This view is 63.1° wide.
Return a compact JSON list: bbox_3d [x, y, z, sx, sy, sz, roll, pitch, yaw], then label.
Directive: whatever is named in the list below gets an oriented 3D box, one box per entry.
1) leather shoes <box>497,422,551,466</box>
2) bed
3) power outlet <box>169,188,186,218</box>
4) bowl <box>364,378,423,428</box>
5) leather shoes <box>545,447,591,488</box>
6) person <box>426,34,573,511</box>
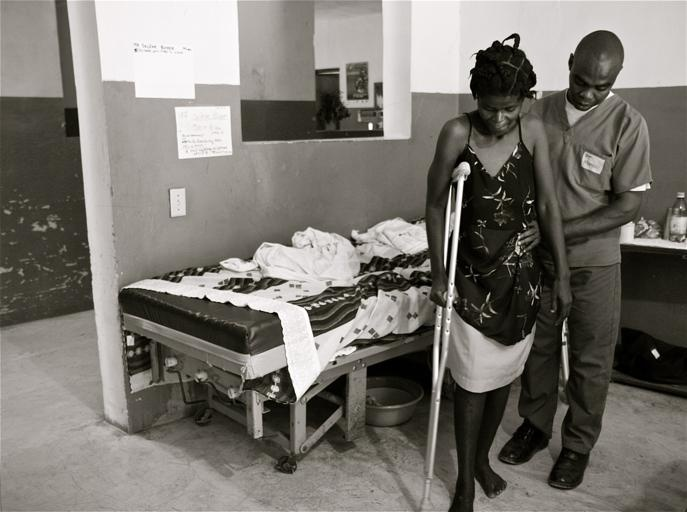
[{"bbox_3d":[0.996,1.084,3.109,0.345,0.141,0.122,8,24,-46],"label":"leather shoes"},{"bbox_3d":[-0.160,0.507,3.822,2.235,1.085,1.608,-13,18,-43],"label":"bed"},{"bbox_3d":[-1.019,-0.331,3.426,0.018,0.238,0.160,8,11,38],"label":"power outlet"},{"bbox_3d":[0.272,0.927,3.474,0.400,0.151,0.405,-2,10,0],"label":"bowl"},{"bbox_3d":[1.166,1.127,2.899,0.109,0.139,0.302,6,10,36],"label":"leather shoes"},{"bbox_3d":[0.722,0.136,2.572,0.658,2.209,0.396,-7,16,-16],"label":"person"}]
